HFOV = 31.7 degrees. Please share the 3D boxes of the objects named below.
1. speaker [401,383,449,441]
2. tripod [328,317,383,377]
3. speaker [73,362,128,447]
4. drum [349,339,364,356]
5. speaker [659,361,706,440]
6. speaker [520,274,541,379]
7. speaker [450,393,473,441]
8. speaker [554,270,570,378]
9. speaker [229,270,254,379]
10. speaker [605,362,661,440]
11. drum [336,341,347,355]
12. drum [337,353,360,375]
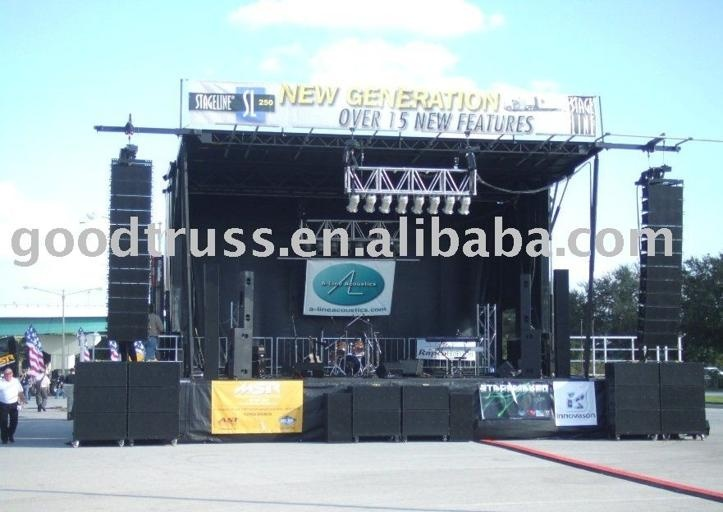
[{"bbox_3d":[1.959,4.734,38.561,1.529,1.553,1.515,0,-2,-2],"label":"speaker"},{"bbox_3d":[-0.204,3.222,44.551,1.801,1.756,1.789,0,-11,5],"label":"tripod"},{"bbox_3d":[-7.528,4.323,36.872,1.498,2.418,0.413,2,-7,-19],"label":"speaker"},{"bbox_3d":[-0.154,3.177,43.838,0.450,0.469,0.482,2,-6,13],"label":"drum"},{"bbox_3d":[9.665,4.353,38.288,1.390,2.207,0.415,-1,-6,9],"label":"speaker"},{"bbox_3d":[5.302,2.195,39.647,0.623,3.173,1.038,-3,-7,24],"label":"speaker"},{"bbox_3d":[2.969,4.841,37.920,0.689,1.384,0.268,2,-7,-19],"label":"speaker"},{"bbox_3d":[6.242,2.138,39.619,0.452,3.316,0.605,0,-6,4],"label":"speaker"},{"bbox_3d":[-3.595,2.112,38.369,0.640,3.213,0.736,1,-6,-11],"label":"speaker"},{"bbox_3d":[8.391,4.300,38.655,1.342,1.940,1.002,-1,4,9],"label":"speaker"},{"bbox_3d":[-0.680,3.216,43.694,0.369,0.489,0.424,0,-6,-2],"label":"drum"},{"bbox_3d":[-0.412,3.750,43.557,0.654,0.682,0.700,-16,-11,7],"label":"drum"}]
